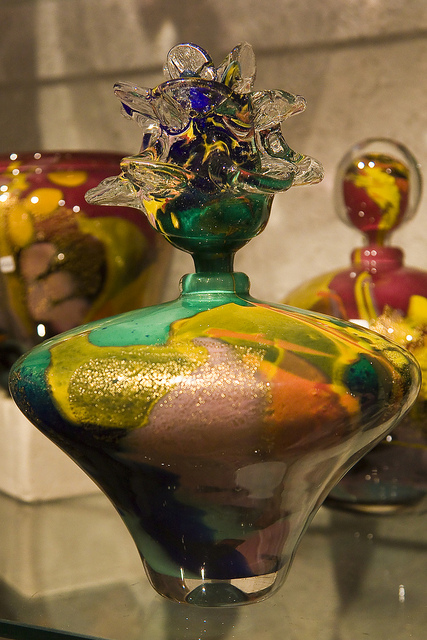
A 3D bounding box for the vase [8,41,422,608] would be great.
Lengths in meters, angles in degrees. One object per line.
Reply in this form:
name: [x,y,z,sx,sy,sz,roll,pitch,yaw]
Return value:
vase: [-0.001,0.010,0.317,0.166,0.237,0.161,24,34,37]
